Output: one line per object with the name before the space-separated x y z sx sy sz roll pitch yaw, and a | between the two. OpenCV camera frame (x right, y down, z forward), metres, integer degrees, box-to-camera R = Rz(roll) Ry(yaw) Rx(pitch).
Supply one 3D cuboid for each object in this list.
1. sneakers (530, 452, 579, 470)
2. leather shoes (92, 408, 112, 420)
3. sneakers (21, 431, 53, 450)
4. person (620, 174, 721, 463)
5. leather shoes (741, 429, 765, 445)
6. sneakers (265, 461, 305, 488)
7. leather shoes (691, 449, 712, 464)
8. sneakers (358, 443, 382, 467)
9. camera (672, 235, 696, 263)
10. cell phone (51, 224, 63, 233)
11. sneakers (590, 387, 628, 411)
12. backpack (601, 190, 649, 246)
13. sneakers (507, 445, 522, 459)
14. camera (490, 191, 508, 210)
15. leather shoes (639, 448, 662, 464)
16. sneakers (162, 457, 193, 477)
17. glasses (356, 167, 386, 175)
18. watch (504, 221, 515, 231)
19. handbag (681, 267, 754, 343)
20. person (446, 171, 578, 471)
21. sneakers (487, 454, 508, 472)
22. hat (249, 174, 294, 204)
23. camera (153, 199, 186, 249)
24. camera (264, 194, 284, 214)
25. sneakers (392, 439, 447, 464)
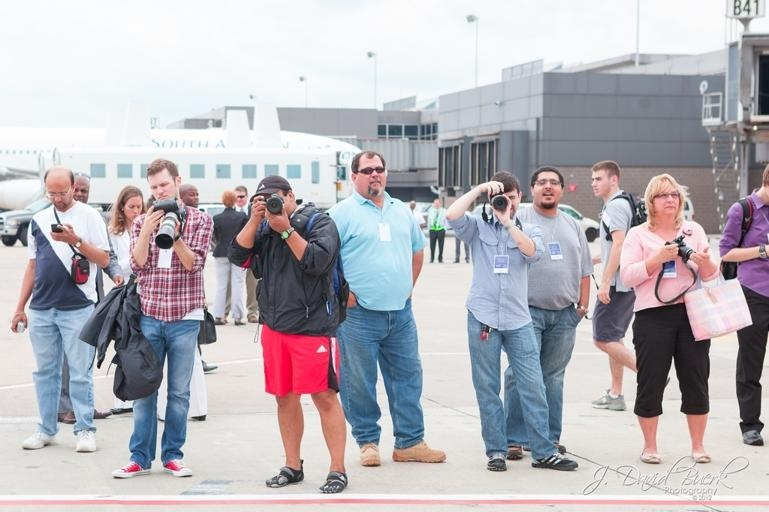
sneakers | 1.572 1.874 8.533 0.395 0.184 0.156 -2 2 13
leather shoes | -3.103 1.755 10.224 0.240 0.095 0.080 1 5 -17
sneakers | -3.368 1.815 9.134 0.121 0.139 0.313 2 -4 45
person | 2.662 0.583 8.734 0.865 2.665 0.574 1 6 13
leather shoes | 3.642 1.794 9.167 0.197 0.128 0.164 3 6 21
sneakers | -0.852 1.949 8.207 0.344 0.156 0.135 0 -2 -34
leather shoes | 2.956 1.870 8.646 0.161 0.100 0.120 2 6 16
sneakers | -0.122 1.861 8.761 0.200 0.192 0.240 0 6 -3
camera | 2.707 -0.050 8.513 0.136 0.198 0.209 -22 29 -34
cell phone | -3.188 -0.265 9.109 0.097 0.069 0.097 0 -1 -1
sneakers | 2.589 1.655 10.595 0.413 0.208 0.166 2 1 31
backpack | 2.828 -0.467 10.557 0.619 0.668 0.427 -3 -3 19
sneakers | 1.254 1.894 8.903 0.079 0.100 0.217 0 -14 1
camera | 1.070 -0.513 8.649 0.118 0.154 0.152 3 9 3
leather shoes | 2.478 1.887 8.680 0.100 0.083 0.195 1 -7 -9
sneakers | -1.844 1.912 8.370 0.115 0.126 0.311 0 -3 -34
glasses | -0.123 -0.795 8.714 0.203 0.064 0.065 -2 6 -16
watch | 1.176 -0.276 8.711 0.091 0.063 0.075 -25 28 45
handbag | 3.130 0.466 8.733 0.656 0.687 0.249 -10 -14 -29
person | 1.146 0.594 8.746 1.156 2.723 0.802 2 6 19
sneakers | 1.049 1.901 8.558 0.186 0.147 0.137 0 6 -2
hat | -0.976 -0.591 8.227 0.205 0.172 0.289 -5 -5 42
camera | -1.918 -0.290 8.258 0.352 0.155 0.397 -1 39 12
camera | -0.922 -0.429 7.909 0.141 0.156 0.091 -1 6 -8
sneakers | 0.347 1.853 8.791 0.529 0.229 0.191 -2 -3 6
